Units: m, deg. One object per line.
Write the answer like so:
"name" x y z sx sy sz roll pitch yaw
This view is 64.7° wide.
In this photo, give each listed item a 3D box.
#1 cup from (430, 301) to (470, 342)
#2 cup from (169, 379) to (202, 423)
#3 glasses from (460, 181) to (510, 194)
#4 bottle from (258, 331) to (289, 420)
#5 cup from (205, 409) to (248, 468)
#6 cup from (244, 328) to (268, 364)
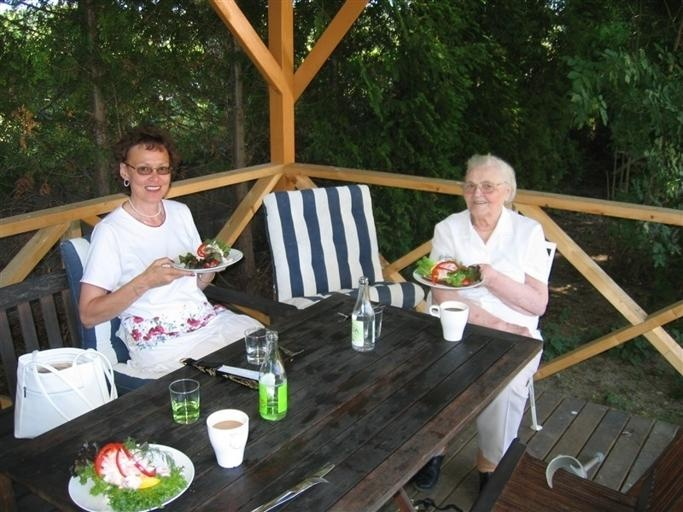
"cup" 0.451 0.274 2.330 0.175 0.135 0.120 6 15 26
"cup" -0.503 0.459 1.731 0.118 0.141 0.129 0 5 0
"glasses" 0.747 -0.359 2.812 0.208 0.071 0.068 6 18 13
"bottle" -0.231 0.373 1.796 0.102 0.277 0.170 0 17 -6
"cup" -0.329 0.527 1.587 0.107 0.112 0.162 -1 2 -2
"cup" -0.303 0.336 2.044 0.106 0.140 0.134 2 3 1
